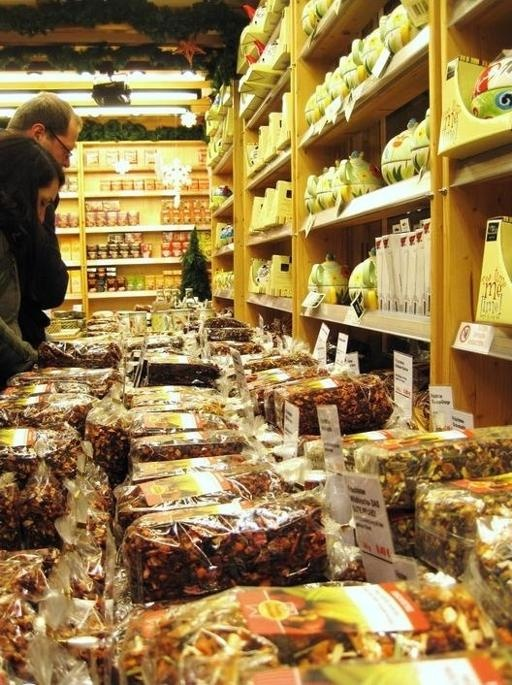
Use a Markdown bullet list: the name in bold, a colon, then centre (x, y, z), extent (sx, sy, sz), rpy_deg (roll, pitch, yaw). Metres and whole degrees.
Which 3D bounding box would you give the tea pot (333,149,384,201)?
- **tea pot**: centre (0.380, -0.632, 1.924), extent (0.165, 0.196, 0.209), rpy_deg (7, 14, 40)

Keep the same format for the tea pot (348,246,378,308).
- **tea pot**: centre (0.386, -0.215, 1.819), extent (0.071, 0.197, 0.215), rpy_deg (3, 0, -1)

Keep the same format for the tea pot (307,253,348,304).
- **tea pot**: centre (0.328, -0.291, 2.388), extent (0.173, 0.220, 0.232), rpy_deg (5, 6, 38)

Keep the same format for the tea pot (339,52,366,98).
- **tea pot**: centre (0.353, -0.990, 1.841), extent (0.074, 0.136, 0.109), rpy_deg (-8, 12, 14)

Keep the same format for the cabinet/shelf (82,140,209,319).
- **cabinet/shelf**: centre (-1.718, -1.725, 7.354), extent (1.800, 2.571, 0.535), rpy_deg (3, 0, -7)
